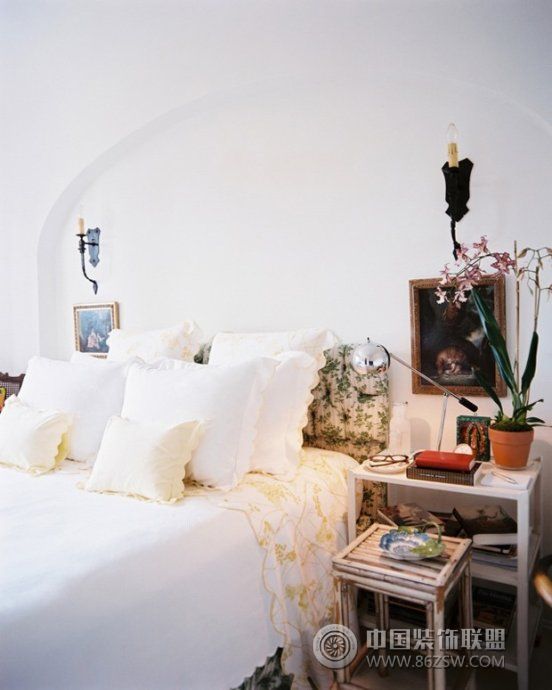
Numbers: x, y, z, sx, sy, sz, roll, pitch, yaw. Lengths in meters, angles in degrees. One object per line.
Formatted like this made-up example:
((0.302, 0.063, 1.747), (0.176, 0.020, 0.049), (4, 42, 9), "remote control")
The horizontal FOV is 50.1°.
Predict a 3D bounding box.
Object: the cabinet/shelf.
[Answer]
((0.700, 0.644, 2.279), (0.901, 0.890, 0.694), (0, 0, 27), "cabinet/shelf")

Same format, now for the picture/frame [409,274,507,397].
((0.742, -0.046, 2.353), (0.520, 0.647, 0.052), (2, 8, 38), "picture/frame")

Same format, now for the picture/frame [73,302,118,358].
((-1.144, -0.085, 3.765), (0.403, 0.365, 0.024), (-2, 5, 36), "picture/frame")

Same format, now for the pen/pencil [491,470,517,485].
((0.765, 0.442, 1.983), (0.016, 0.015, 0.096), (17, -3, -33), "pen/pencil")

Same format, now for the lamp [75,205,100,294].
((-1.155, -0.558, 3.646), (0.147, 0.469, 0.489), (-1, 4, -18), "lamp")

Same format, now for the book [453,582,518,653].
((0.701, 0.920, 1.979), (0.280, 0.066, 0.289), (-1, 11, 28), "book")

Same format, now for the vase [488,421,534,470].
((0.832, 0.356, 2.095), (0.158, 0.128, 0.142), (-1, 4, -22), "vase")

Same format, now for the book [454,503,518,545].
((0.745, 0.636, 2.095), (0.169, 0.032, 0.165), (-1, 3, 15), "book")
